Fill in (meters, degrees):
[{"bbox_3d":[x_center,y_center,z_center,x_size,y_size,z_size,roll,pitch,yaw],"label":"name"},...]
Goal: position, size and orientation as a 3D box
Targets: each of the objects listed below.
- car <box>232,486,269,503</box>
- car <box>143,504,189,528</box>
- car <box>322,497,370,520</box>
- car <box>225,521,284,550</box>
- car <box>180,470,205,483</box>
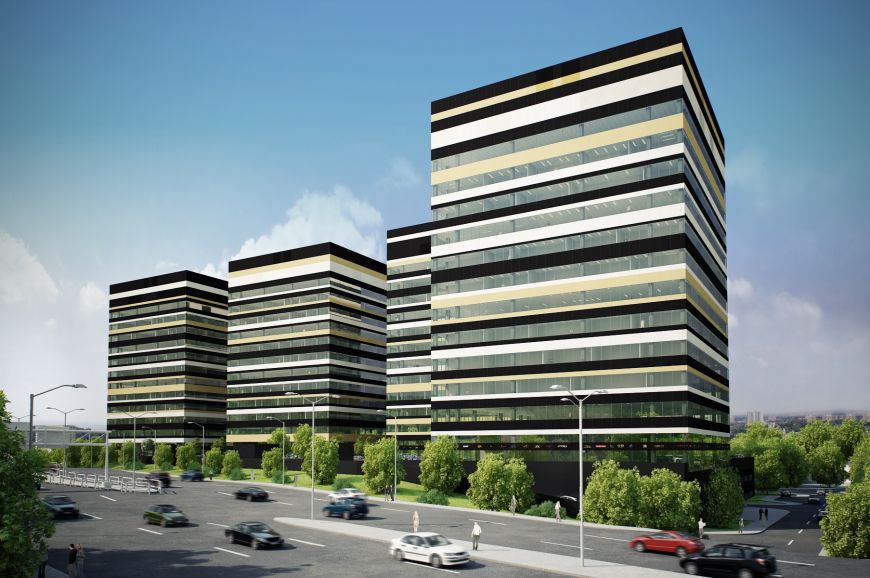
[{"bbox_3d":[-25.374,28.543,107.657,4.664,1.760,1.485,-10,-20,34],"label":"car"},{"bbox_3d":[-30.827,26.066,88.962,5.649,2.412,1.879,-10,-20,35],"label":"car"},{"bbox_3d":[-10.476,26.653,93.835,4.709,2.434,2.443,1,-17,5],"label":"car"},{"bbox_3d":[-18.394,25.411,79.879,6.088,2.458,1.910,-8,-19,31],"label":"car"},{"bbox_3d":[-42.200,32.473,134.498,4.188,1.898,2.628,-13,-22,40],"label":"car"}]
